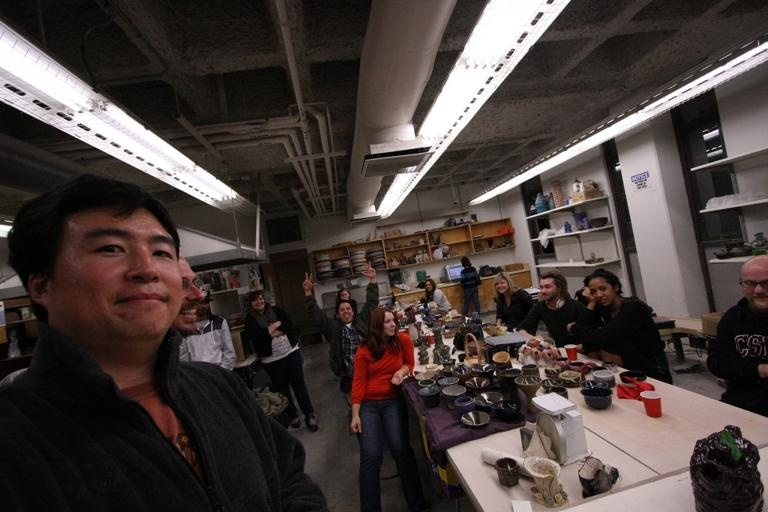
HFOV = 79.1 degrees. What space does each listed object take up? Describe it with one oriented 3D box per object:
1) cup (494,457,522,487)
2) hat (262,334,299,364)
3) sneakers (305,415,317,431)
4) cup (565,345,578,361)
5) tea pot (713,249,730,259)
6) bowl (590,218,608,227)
[{"bbox_3d":[0.692,1.213,2.625,0.147,0.127,0.106,-8,-4,18],"label":"cup"},{"bbox_3d":[-1.159,1.023,5.275,0.286,0.239,0.336,-21,9,5],"label":"hat"},{"bbox_3d":[-0.809,1.847,5.200,0.115,0.177,0.071,-4,-25,-43],"label":"sneakers"},{"bbox_3d":[1.518,0.781,3.760,0.123,0.107,0.115,-5,-11,-1],"label":"cup"},{"bbox_3d":[3.755,-0.024,5.143,0.198,0.059,0.149,-8,4,-41],"label":"tea pot"},{"bbox_3d":[3.144,-0.483,6.814,0.179,0.087,0.167,-4,-5,0],"label":"bowl"}]
